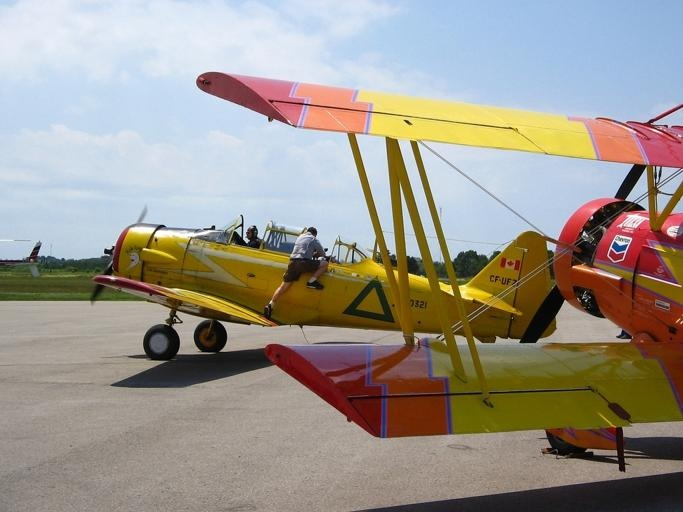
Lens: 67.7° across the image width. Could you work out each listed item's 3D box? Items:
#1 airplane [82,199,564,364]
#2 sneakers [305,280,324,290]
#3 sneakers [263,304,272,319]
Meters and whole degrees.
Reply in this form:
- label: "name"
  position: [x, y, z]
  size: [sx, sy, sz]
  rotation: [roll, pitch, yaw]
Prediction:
- label: "airplane"
  position: [-0.566, 0.653, 9.578]
  size: [5.349, 1.481, 5.209]
  rotation: [7, 2, 9]
- label: "sneakers"
  position: [-0.468, 0.575, 9.819]
  size: [0.409, 0.134, 0.126]
  rotation: [1, 2, 4]
- label: "sneakers"
  position: [-1.416, 1.082, 9.906]
  size: [0.137, 0.304, 0.155]
  rotation: [4, 10, 16]
